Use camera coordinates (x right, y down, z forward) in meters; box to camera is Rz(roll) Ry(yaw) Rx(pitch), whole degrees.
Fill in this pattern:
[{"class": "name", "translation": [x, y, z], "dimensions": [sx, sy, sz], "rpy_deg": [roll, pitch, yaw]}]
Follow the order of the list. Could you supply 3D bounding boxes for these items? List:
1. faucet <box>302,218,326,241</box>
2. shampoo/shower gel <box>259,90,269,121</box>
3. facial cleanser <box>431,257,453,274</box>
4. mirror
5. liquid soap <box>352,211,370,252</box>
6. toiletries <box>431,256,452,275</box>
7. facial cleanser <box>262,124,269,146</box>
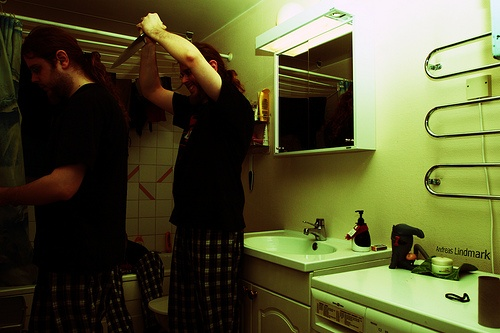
[{"class": "faucet", "translation": [0.429, 0.413, 2.506], "dimensions": [0.139, 0.140, 0.125], "rpy_deg": [-5, 7, 10]}, {"class": "shampoo/shower gel", "translation": [0.112, -0.492, 3.040], "dimensions": [0.124, 0.217, 0.047], "rpy_deg": [-2, 4, -12]}, {"class": "facial cleanser", "translation": [0.928, 0.481, 1.842], "dimensions": [0.083, 0.064, 0.079], "rpy_deg": [0, -5, -6]}, {"class": "mirror", "translation": [0.394, -0.558, 2.587], "dimensions": [1.066, 0.919, 0.331], "rpy_deg": [-8, 5, -11]}, {"class": "liquid soap", "translation": [0.627, 0.361, 2.182], "dimensions": [0.101, 0.200, 0.202], "rpy_deg": [-5, 7, 13]}, {"class": "toiletries", "translation": [0.920, 0.481, 1.845], "dimensions": [0.085, 0.066, 0.081], "rpy_deg": [0, -5, -4]}, {"class": "facial cleanser", "translation": [0.121, -0.255, 3.027], "dimensions": [0.027, 0.180, 0.089], "rpy_deg": [-2, 9, 35]}]
